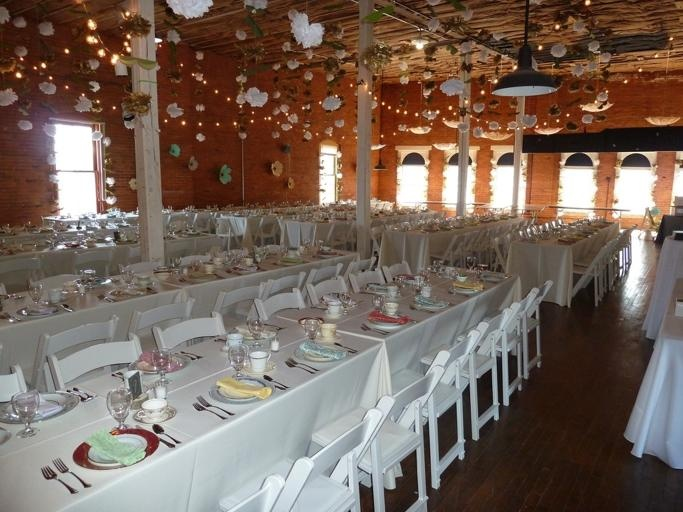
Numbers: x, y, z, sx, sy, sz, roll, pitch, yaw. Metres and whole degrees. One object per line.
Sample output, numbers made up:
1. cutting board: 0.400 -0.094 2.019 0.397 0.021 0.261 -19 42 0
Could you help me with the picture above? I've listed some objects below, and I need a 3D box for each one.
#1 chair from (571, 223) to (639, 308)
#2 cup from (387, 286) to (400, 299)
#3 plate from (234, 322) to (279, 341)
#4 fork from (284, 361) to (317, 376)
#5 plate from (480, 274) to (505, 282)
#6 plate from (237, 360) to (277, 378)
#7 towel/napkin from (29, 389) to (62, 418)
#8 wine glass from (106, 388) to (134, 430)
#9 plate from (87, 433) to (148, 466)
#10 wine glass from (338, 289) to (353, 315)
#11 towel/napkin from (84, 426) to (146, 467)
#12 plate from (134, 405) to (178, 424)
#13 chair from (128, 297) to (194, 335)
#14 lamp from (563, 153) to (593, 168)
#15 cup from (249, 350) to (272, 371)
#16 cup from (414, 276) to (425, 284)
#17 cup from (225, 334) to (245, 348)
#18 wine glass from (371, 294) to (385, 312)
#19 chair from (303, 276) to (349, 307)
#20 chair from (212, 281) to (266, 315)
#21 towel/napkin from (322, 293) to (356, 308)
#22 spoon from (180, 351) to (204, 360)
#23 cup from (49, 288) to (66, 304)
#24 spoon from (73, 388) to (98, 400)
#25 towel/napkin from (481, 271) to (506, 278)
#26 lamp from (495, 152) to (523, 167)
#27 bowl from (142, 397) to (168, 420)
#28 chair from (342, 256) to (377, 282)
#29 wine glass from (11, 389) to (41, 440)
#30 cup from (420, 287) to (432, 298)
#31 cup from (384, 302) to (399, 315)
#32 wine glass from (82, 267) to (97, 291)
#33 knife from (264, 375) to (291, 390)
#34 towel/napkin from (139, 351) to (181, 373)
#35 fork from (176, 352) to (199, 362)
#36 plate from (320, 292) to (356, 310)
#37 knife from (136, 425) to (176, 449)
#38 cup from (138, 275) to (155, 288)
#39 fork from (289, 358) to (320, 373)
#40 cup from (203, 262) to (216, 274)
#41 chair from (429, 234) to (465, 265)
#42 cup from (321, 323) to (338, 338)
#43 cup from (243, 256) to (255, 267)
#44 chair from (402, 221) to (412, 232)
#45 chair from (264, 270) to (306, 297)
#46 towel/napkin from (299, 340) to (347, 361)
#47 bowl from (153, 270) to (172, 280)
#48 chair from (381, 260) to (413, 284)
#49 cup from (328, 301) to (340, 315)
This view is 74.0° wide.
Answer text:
1. chair: 4.467 0.180 7.731 0.527 0.580 1.693 9 16 39
2. cup: 0.457 0.318 3.937 0.137 0.083 0.085 -2 2 -37
3. plate: -0.549 0.517 3.038 0.210 0.035 0.153 -2 6 -23
4. fork: -0.236 0.636 2.602 0.215 0.026 0.060 11 26 30
5. plate: 1.546 0.220 4.640 0.144 0.029 0.140 -2 8 -17
6. plate: -0.469 0.611 2.506 0.123 0.023 0.113 -5 10 -27
7. towel/napkin: -1.388 0.694 2.119 0.142 0.042 0.111 12 13 33
8. wine glass: -0.979 0.665 2.008 0.094 0.196 0.205 -7 7 -27
9. plate: -0.921 0.787 1.863 0.208 0.089 0.193 -5 6 -28
10. wine glass: 0.027 0.379 3.710 0.131 0.183 0.149 13 21 43
11. towel/napkin: -0.924 0.775 1.861 0.199 0.039 0.120 9 9 37
12. plate: -0.870 0.741 2.105 0.185 0.041 0.109 -3 5 -11
13. chair: -1.399 0.455 3.456 0.340 0.391 0.234 24 27 37
14. lamp: 7.730 -3.117 14.784 0.821 0.488 0.186 0 8 30
15. cup: -0.456 0.589 2.560 0.096 0.069 0.128 0 1 13
16. cup: 0.731 0.217 4.225 0.080 0.063 0.079 1 12 0
17. cup: -0.637 0.518 2.738 0.122 0.072 0.086 -2 13 -10
18. wine glass: 0.291 0.361 3.548 0.118 0.108 0.107 -6 15 -23
19. chair: -0.121 0.343 4.175 0.266 0.322 0.311 -13 33 -20
20. chair: -0.951 0.375 4.135 0.255 0.331 0.291 -15 33 -39
21. towel/napkin: 0.009 0.358 3.685 0.186 0.065 0.158 -3 2 -26
22. spoon: -0.897 0.601 2.725 0.047 0.019 0.172 5 2 -41
23. cup: -2.311 0.328 3.712 0.112 0.085 0.141 10 8 37
24. spoon: -1.290 0.694 2.274 0.100 0.010 0.037 8 10 39
25. towel/napkin: 1.566 0.199 4.691 0.140 0.029 0.145 -3 6 -41
26. lamp: 5.730 -3.379 15.883 0.556 0.517 0.147 2 10 41
27. bowl: -0.872 0.712 2.121 0.089 0.047 0.090 5 2 0
28. chair: 0.189 0.152 5.233 0.259 0.313 0.259 -15 32 -26
29. wine glass: -1.375 0.680 1.984 0.092 0.185 0.174 -9 8 -36
30. cup: 0.727 0.314 3.924 0.107 0.093 0.094 -1 10 -3
31. cup: 0.380 0.407 3.457 0.101 0.060 0.095 0 -1 0
32. wine glass: -2.349 0.219 4.208 0.167 0.219 0.149 -7 24 -30
33. knife: -0.343 0.674 2.408 0.181 0.016 0.049 7 14 40
34. towel/napkin: -1.020 0.589 2.523 0.173 0.019 0.162 5 3 23
35. fork: -0.918 0.596 2.700 0.138 0.008 0.050 3 1 42
36. plate: 0.027 0.355 3.703 0.182 0.049 0.188 -11 14 -42
37. knife: -0.808 0.776 1.976 0.220 0.025 0.049 12 9 32
38. cup: -1.805 0.236 4.201 0.126 0.080 0.113 14 25 14
39. fork: -0.220 0.635 2.609 0.207 0.026 0.058 12 25 32
40. cup: -1.367 0.132 4.665 0.130 0.086 0.123 0 0 0
41. chair: 1.846 -0.108 7.920 0.571 0.502 0.881 -3 5 1
42. cup: -0.076 0.503 3.040 0.106 0.062 0.096 3 11 9
43. cup: -1.060 0.062 5.152 0.123 0.083 0.112 9 13 31
44. chair: 1.241 -0.562 8.587 0.237 0.145 0.189 -6 14 -16
45. chair: -0.582 0.262 4.569 0.199 0.308 0.275 -16 31 -32
46. towel/napkin: -0.129 0.572 2.717 0.227 0.050 0.122 6 12 19
47. bowl: -1.748 0.182 4.394 0.126 0.053 0.115 0 8 0
48. chair: 0.622 0.152 5.022 0.291 0.333 0.264 -11 36 -14
49. cup: -0.052 0.403 3.502 0.106 0.074 0.091 -3 8 0
